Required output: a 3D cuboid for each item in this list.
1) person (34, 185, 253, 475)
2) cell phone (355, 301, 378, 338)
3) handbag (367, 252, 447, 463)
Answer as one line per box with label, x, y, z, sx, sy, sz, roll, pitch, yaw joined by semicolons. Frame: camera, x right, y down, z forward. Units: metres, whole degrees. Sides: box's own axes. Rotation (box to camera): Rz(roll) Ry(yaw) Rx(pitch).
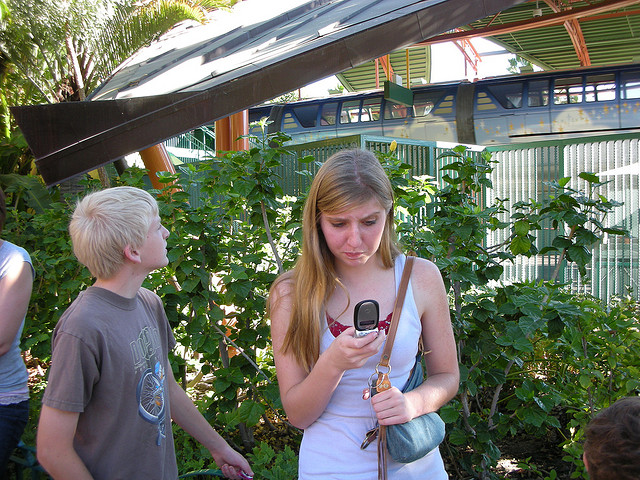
person;-0.895;0.454;2.448;0.823;1.404;0.338;-3;4;-42
cell phone;0.199;0.378;2.280;0.113;0.283;0.038;-6;25;-8
handbag;0.398;0.529;2.398;0.388;0.884;0.255;-3;4;-43
